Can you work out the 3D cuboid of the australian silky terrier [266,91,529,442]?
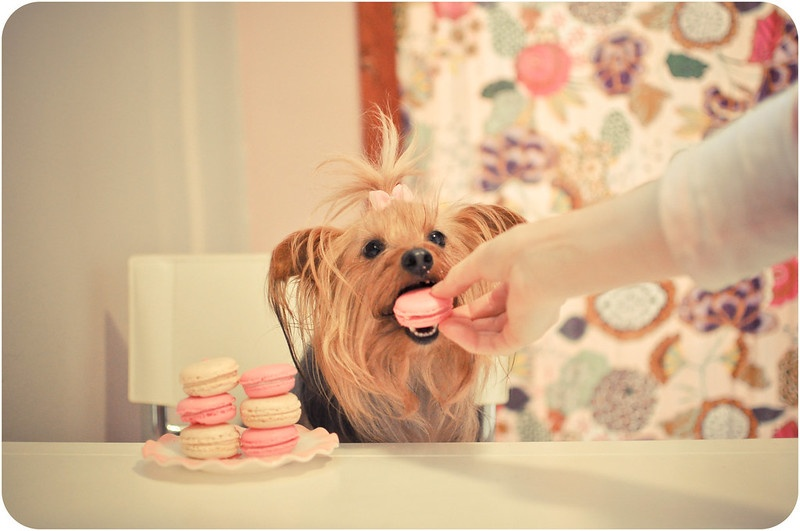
[{"bbox_3d":[0.098,0.146,3.088,1.106,1.394,0.686,-11,3,-12],"label":"australian silky terrier"}]

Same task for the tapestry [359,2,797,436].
[{"bbox_3d":[0.685,-0.274,2.935,1.910,2.035,0.150,0,4,3],"label":"tapestry"}]

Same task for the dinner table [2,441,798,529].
[{"bbox_3d":[0.077,0.884,2.860,3.160,0.277,0.459,-1,1,-1],"label":"dinner table"}]

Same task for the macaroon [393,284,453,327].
[{"bbox_3d":[0.077,0.145,2.833,0.245,0.136,0.191,-3,6,-37],"label":"macaroon"}]
